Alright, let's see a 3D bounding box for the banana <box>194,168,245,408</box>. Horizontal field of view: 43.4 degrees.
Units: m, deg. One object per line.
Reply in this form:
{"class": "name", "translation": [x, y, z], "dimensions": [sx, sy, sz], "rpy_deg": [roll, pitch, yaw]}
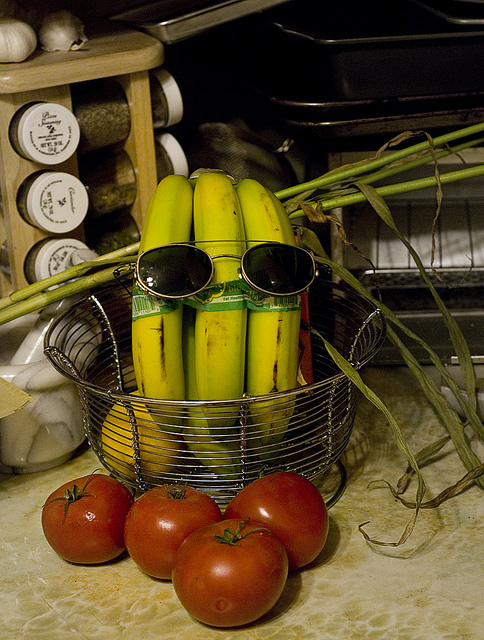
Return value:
{"class": "banana", "translation": [-0.019, -0.029, 0.541], "dimensions": [0.045, 0.194, 0.055], "rpy_deg": [-1, -1, 32]}

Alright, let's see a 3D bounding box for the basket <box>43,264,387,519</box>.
{"class": "basket", "translation": [-0.046, 0.096, 0.708], "dimensions": [0.342, 0.152, 0.305], "rpy_deg": [-7, 27, -13]}

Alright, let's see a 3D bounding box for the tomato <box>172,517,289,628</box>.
{"class": "tomato", "translation": [-0.016, 0.179, 0.496], "dimensions": [0.090, 0.074, 0.086], "rpy_deg": [8, 16, 30]}

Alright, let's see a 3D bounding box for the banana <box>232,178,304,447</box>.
{"class": "banana", "translation": [0.027, -0.006, 0.593], "dimensions": [0.072, 0.246, 0.082], "rpy_deg": [-3, -2, 4]}

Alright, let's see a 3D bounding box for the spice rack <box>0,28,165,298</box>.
{"class": "spice rack", "translation": [-0.219, -0.205, 0.802], "dimensions": [0.239, 0.382, 0.216], "rpy_deg": [-4, 16, -14]}

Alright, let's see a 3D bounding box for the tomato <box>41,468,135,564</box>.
{"class": "tomato", "translation": [-0.142, 0.177, 0.551], "dimensions": [0.079, 0.061, 0.075], "rpy_deg": [-3, 21, -9]}

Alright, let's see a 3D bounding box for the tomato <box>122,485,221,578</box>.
{"class": "tomato", "translation": [-0.046, 0.172, 0.524], "dimensions": [0.086, 0.072, 0.078], "rpy_deg": [-1, -9, 7]}
